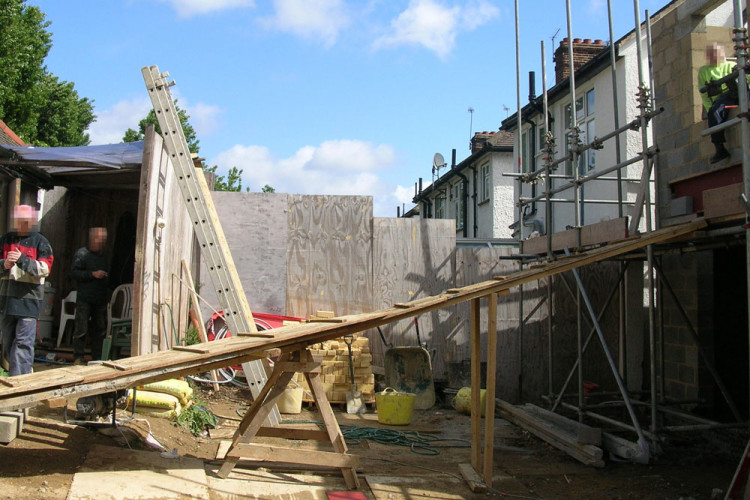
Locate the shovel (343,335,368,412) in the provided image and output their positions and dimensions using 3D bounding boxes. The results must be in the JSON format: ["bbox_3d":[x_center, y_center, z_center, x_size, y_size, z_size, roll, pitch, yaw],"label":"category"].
[{"bbox_3d":[-0.354,2.207,12.136,0.403,1.134,0.348,0,0,2],"label":"shovel"}]

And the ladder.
[{"bbox_3d":[-2.555,0.588,10.626,0.535,5.540,0.471,-17,1,-23],"label":"ladder"}]

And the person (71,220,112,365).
[{"bbox_3d":[-4.584,0.704,11.587,0.712,2.280,0.729,1,-3,-39],"label":"person"}]
